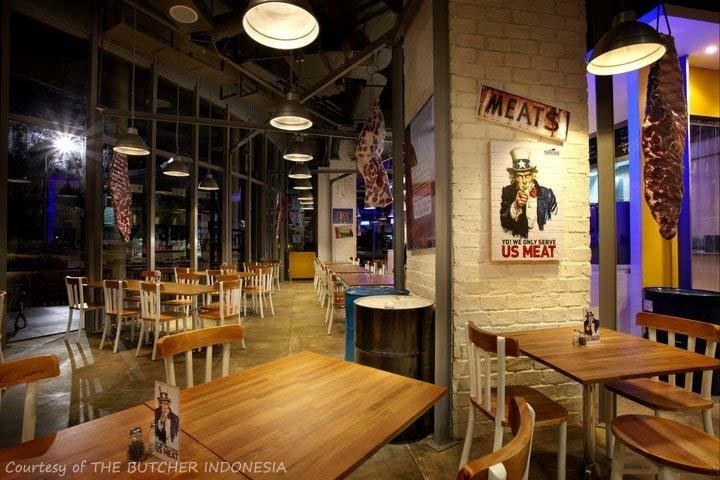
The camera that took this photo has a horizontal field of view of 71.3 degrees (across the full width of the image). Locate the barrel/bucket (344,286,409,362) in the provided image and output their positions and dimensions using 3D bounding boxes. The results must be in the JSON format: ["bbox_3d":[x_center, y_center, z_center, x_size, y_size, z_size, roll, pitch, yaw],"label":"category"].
[{"bbox_3d":[0.106,1.084,6.744,0.929,1.010,0.897,1,1,0],"label":"barrel/bucket"}]

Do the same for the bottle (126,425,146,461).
[{"bbox_3d":[-1.685,1.537,3.784,0.122,0.242,0.134,-3,-2,42],"label":"bottle"}]

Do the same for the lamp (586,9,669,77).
[{"bbox_3d":[2.614,-1.869,4.909,0.639,0.370,0.630,-5,4,-34],"label":"lamp"}]

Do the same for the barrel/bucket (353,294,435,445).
[{"bbox_3d":[0.436,1.410,6.304,1.274,1.950,1.317,0,1,0],"label":"barrel/bucket"}]
